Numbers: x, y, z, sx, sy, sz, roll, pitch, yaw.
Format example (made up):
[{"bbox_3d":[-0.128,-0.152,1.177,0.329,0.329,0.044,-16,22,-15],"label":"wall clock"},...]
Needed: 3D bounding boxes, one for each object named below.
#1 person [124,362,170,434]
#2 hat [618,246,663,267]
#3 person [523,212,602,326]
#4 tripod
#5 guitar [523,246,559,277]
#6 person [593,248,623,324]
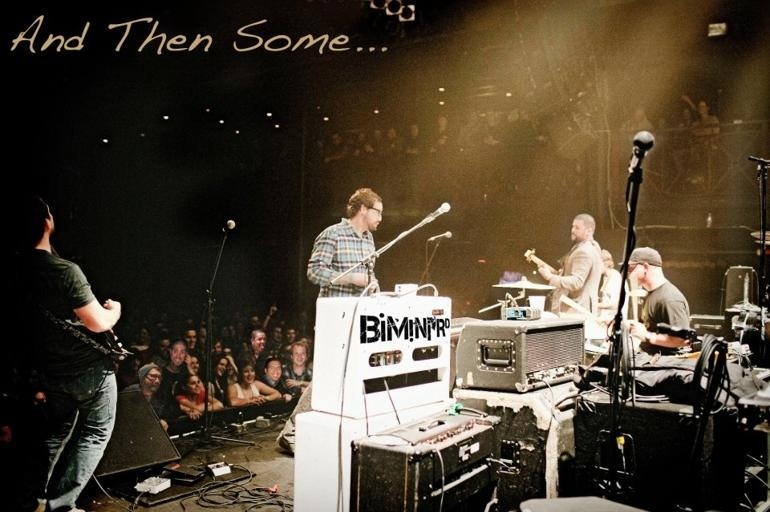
[{"bbox_3d":[-2.605,1.674,7.217,0.383,1.001,0.356,9,-24,-41],"label":"person"},{"bbox_3d":[2.358,0.010,6.064,0.390,0.247,0.285,9,3,35],"label":"hat"},{"bbox_3d":[2.091,0.122,7.619,0.590,1.169,1.185,1,-5,-6],"label":"person"},{"bbox_3d":[-1.937,0.907,7.537,0.962,2.462,0.892,-4,-10,11],"label":"tripod"},{"bbox_3d":[2.136,0.075,8.944,0.568,0.166,0.231,34,9,-25],"label":"guitar"},{"bbox_3d":[2.489,0.353,7.385,0.252,0.860,0.310,5,-41,28],"label":"person"}]
